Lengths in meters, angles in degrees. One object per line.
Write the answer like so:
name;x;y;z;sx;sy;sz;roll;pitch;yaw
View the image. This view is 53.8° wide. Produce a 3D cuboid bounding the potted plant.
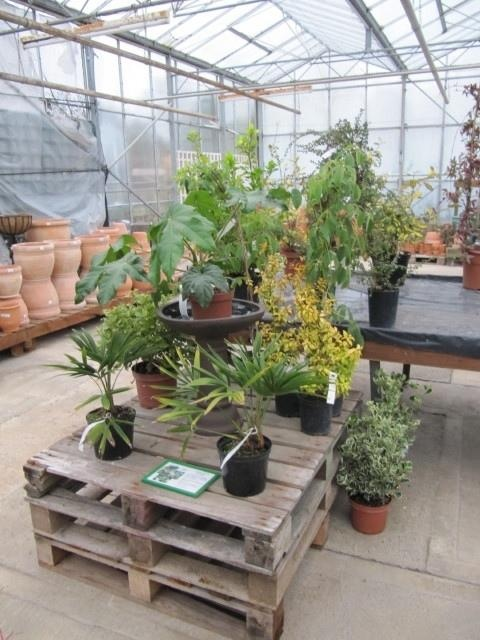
potted plant;0.230;0.038;2.882;1.859;2.173;2.046;2;24;7
